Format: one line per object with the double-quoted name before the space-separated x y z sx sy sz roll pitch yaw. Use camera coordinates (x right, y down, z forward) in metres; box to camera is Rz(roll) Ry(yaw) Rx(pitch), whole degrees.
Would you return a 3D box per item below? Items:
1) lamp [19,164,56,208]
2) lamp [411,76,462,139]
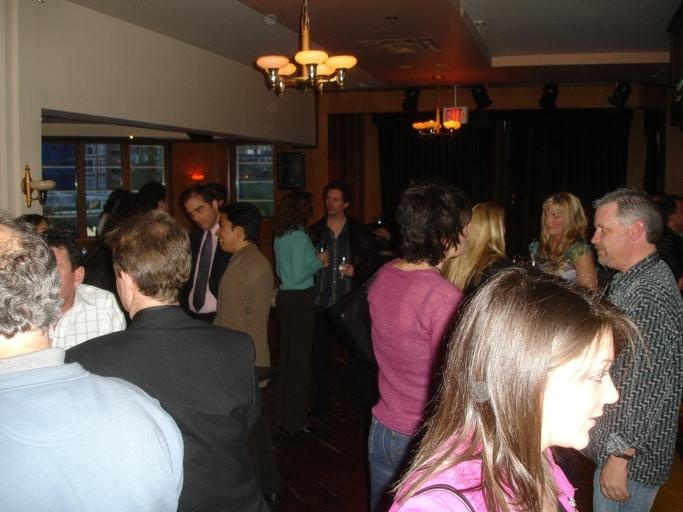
"lamp" -2.377 -0.540 4.451 0.229 0.310 0.184 -1 6 3
"lamp" 1.593 -2.440 9.127 0.754 1.124 0.787 2 4 -9
